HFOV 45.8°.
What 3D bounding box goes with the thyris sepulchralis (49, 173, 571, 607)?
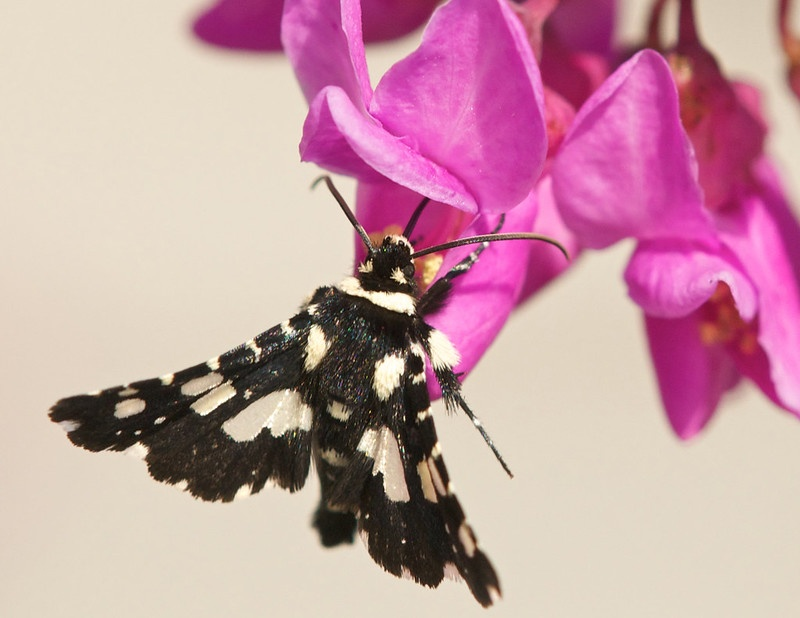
[{"bbox_3d":[-0.033,0.052,0.703,0.293,0.320,0.126,11,-43,15],"label":"thyris sepulchralis"}]
